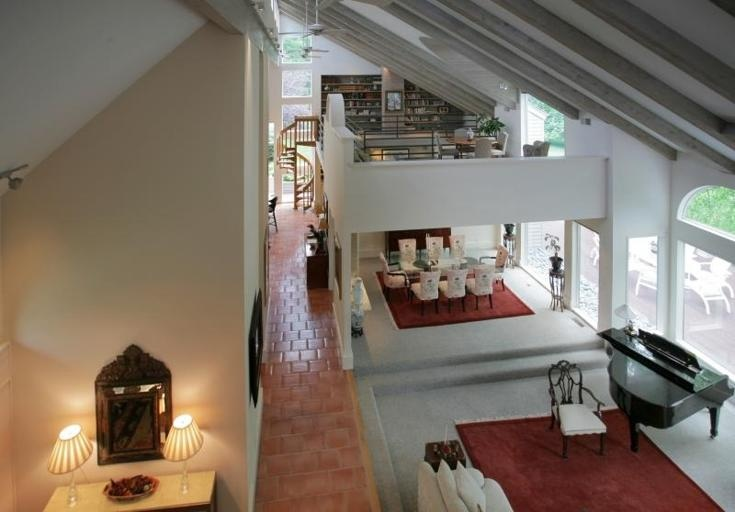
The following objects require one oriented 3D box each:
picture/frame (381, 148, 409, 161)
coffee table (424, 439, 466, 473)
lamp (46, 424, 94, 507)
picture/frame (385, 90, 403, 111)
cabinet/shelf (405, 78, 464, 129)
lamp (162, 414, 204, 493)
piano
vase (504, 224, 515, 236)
[{"bbox_3d":[0.666,-2.452,13.385,0.699,0.204,0.794,0,34,-2],"label":"picture/frame"},{"bbox_3d":[1.060,2.671,7.576,0.516,0.282,0.540,-1,3,-6],"label":"coffee table"},{"bbox_3d":[-3.079,2.226,5.904,0.394,0.939,0.474,-4,1,-12],"label":"lamp"},{"bbox_3d":[0.853,-5.025,17.833,0.593,0.677,0.083,2,16,-4],"label":"picture/frame"},{"bbox_3d":[2.044,-4.833,17.785,1.766,1.339,0.651,-3,1,4],"label":"cabinet/shelf"},{"bbox_3d":[-1.952,2.145,6.043,0.386,0.854,0.407,-3,1,-1],"label":"lamp"},{"bbox_3d":[4.091,1.796,8.090,1.672,1.224,1.650,-16,26,-14],"label":"piano"},{"bbox_3d":[3.660,-0.682,14.373,0.233,0.182,0.246,-2,13,-3],"label":"vase"}]
